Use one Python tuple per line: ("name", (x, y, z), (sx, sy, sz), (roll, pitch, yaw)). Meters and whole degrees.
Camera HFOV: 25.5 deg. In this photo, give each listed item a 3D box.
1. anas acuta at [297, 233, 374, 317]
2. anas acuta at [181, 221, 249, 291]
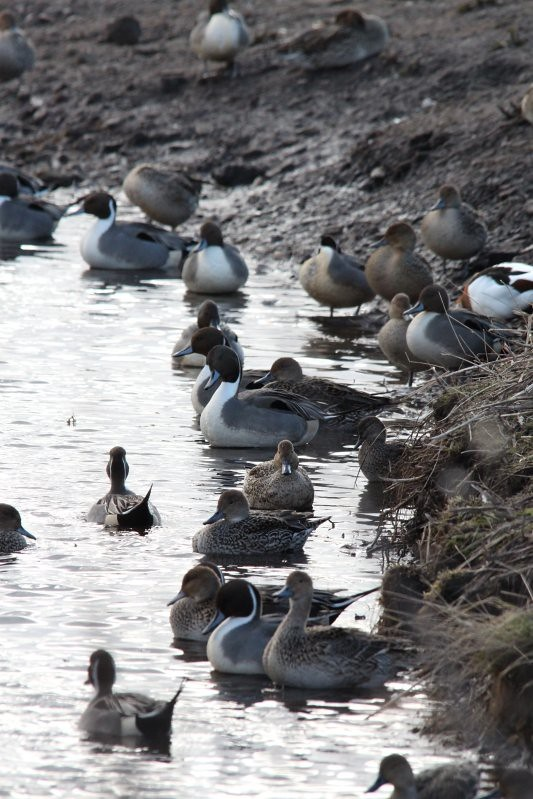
("anas acuta", (1.042, -1.500, 14.586), (0.927, 0.870, 1.257), (6, 4, 41))
("anas acuta", (-0.650, -1.869, 15.678), (0.815, 1.032, 0.587), (0, 17, -12))
